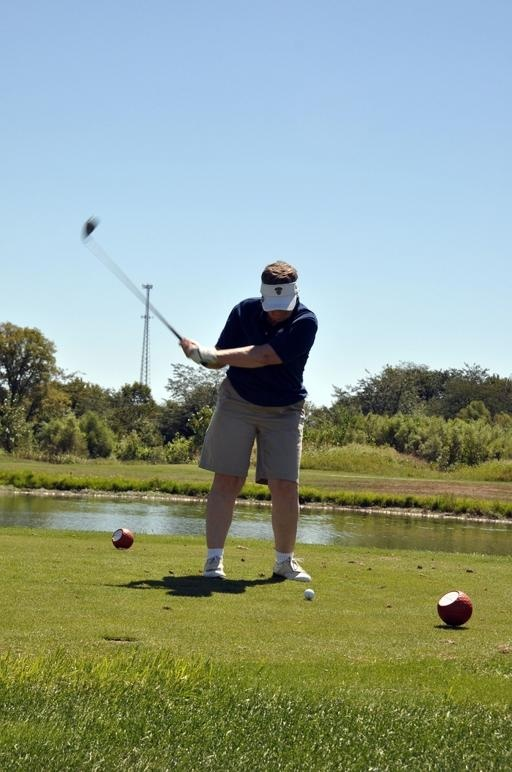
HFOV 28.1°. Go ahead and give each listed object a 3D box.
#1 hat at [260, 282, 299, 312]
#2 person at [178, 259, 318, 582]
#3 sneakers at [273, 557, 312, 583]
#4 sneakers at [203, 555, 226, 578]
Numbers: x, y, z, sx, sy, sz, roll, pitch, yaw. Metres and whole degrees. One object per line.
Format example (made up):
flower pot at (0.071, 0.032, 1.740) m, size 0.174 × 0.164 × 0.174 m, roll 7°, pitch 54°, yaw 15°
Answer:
hat at (0.135, -0.520, 6.066) m, size 0.214 × 0.168 × 0.208 m, roll 1°, pitch -5°, yaw 0°
person at (-0.011, 0.192, 6.078) m, size 0.700 × 1.855 × 0.757 m, roll 1°, pitch -5°, yaw 2°
sneakers at (0.203, 1.073, 5.903) m, size 0.098 × 0.096 × 0.244 m, roll 3°, pitch -6°, yaw -41°
sneakers at (-0.235, 1.035, 5.776) m, size 0.067 × 0.111 × 0.173 m, roll 4°, pitch -18°, yaw -14°
